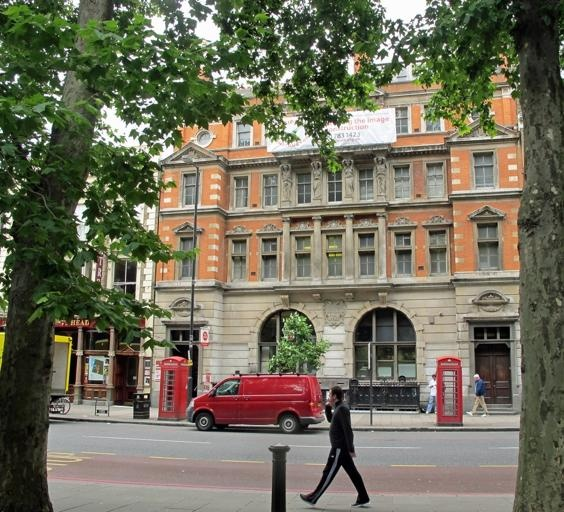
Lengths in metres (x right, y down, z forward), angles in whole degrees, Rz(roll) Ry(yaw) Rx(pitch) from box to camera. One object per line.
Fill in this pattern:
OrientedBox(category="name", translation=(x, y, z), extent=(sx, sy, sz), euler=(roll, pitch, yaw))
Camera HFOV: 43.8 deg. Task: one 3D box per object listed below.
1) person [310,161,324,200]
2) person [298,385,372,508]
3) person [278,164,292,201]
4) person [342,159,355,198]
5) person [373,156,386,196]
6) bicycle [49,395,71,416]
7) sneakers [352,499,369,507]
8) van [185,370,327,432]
OrientedBox(category="person", translation=(1.794, -3.849, 35.949), extent=(0.559, 2.111, 0.504), euler=(1, -11, -1))
OrientedBox(category="person", translation=(0.985, 3.313, 12.381), extent=(1.078, 1.977, 1.587), euler=(-1, -12, 7))
OrientedBox(category="person", translation=(0.203, -3.801, 36.526), extent=(0.555, 2.096, 0.573), euler=(0, -12, 2))
OrientedBox(category="person", translation=(3.315, -3.893, 35.399), extent=(0.558, 2.029, 0.727), euler=(-1, -12, 9))
OrientedBox(category="person", translation=(4.916, -3.899, 34.955), extent=(0.524, 2.200, 0.614), euler=(-2, -12, 14))
OrientedBox(category="bicycle", translation=(-9.696, 6.490, 30.498), extent=(0.715, 0.771, 1.220), euler=(1, -12, -3))
OrientedBox(category="sneakers", translation=(1.281, 4.140, 11.755), extent=(0.351, 0.147, 0.118), euler=(0, -7, -3))
OrientedBox(category="van", translation=(-0.816, 4.937, 24.005), extent=(4.304, 1.665, 1.984), euler=(-1, -15, 14))
